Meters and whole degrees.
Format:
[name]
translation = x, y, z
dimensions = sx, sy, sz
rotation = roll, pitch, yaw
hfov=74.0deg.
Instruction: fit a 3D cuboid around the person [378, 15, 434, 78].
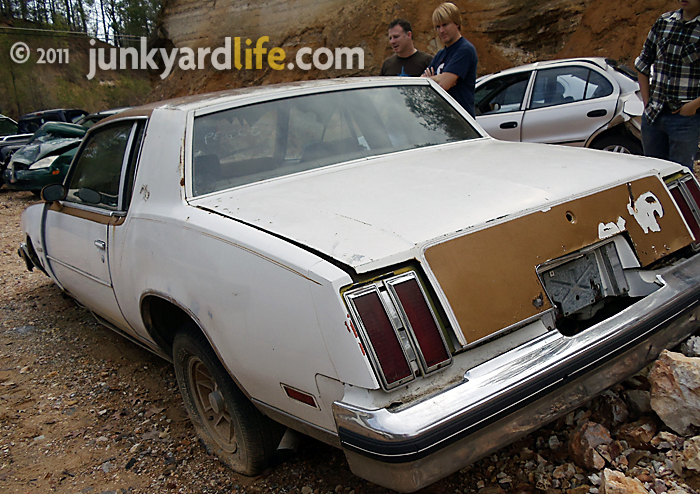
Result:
[person]
translation = 0.646, -2.275, 5.336
dimensions = 0.761, 0.696, 0.420
rotation = 17, 41, 40
